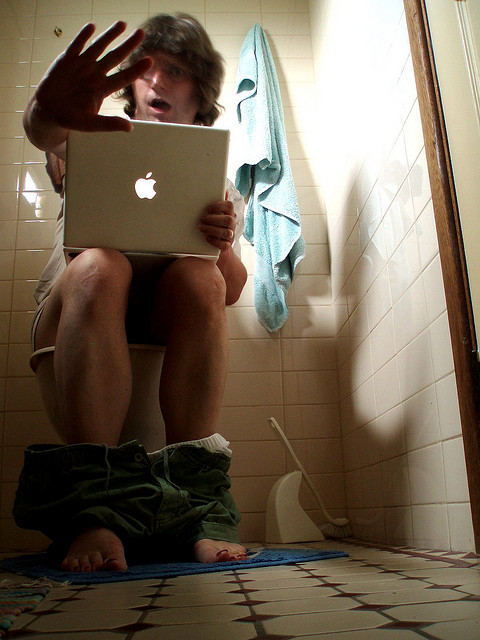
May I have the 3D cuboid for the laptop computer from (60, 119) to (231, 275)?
[{"bbox_3d":[-0.157,-0.211,0.861,0.265,0.216,0.121,2,31,-2],"label":"laptop computer"}]

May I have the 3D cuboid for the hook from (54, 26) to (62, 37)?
[{"bbox_3d":[-0.714,-1.121,1.995,0.020,0.033,0.019,4,18,16],"label":"hook"}]
